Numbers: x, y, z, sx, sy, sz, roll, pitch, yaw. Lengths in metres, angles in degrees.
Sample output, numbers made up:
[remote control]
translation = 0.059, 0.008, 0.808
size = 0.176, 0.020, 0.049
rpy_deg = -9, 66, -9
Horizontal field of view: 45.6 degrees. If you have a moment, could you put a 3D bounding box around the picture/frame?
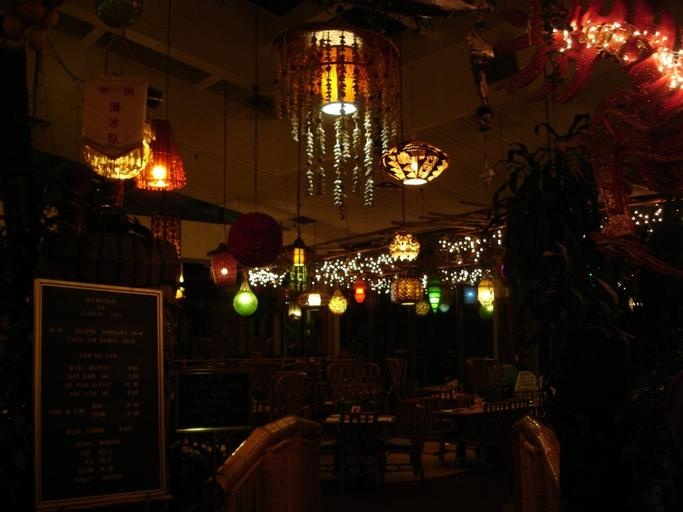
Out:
[picture/frame]
translation = -1.193, 0.687, 4.029
size = 0.689, 1.092, 0.065
rpy_deg = 6, -12, -31
